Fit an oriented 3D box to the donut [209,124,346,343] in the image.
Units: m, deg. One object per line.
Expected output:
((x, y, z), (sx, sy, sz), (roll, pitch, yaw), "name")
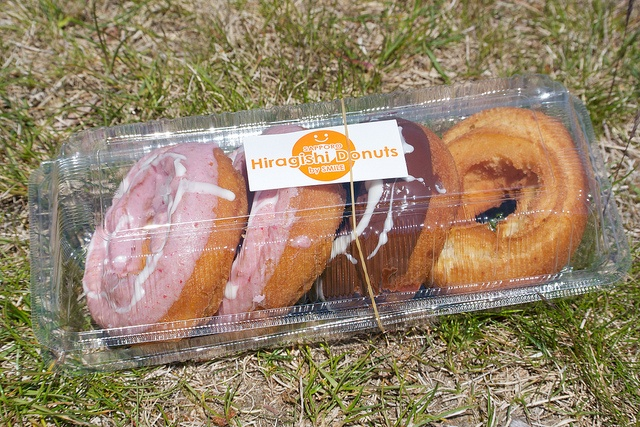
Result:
((-0.170, 0.140, 2.499), (0.512, 0.196, 0.592), (-22, 61, 43), "donut")
